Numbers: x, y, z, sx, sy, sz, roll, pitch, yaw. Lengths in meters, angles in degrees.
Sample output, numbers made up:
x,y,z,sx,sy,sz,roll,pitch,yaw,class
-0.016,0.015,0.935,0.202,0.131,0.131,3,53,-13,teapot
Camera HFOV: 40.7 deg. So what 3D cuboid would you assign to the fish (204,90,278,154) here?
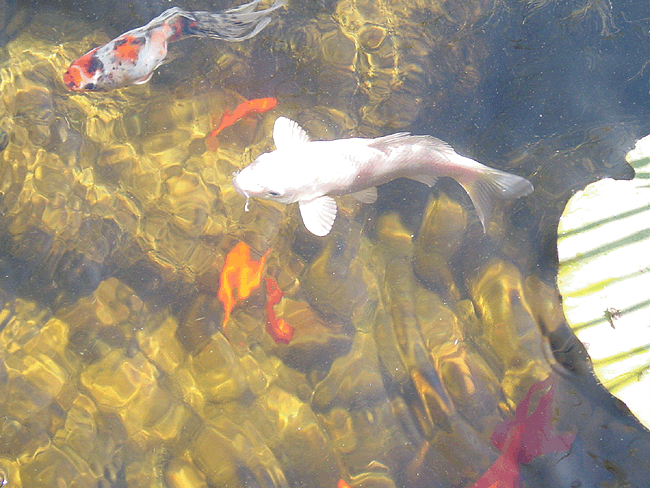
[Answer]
x,y,z,sx,sy,sz,roll,pitch,yaw,class
-0.686,-1.069,7.562,0.780,0.292,0.342,-28,-5,0,fish
